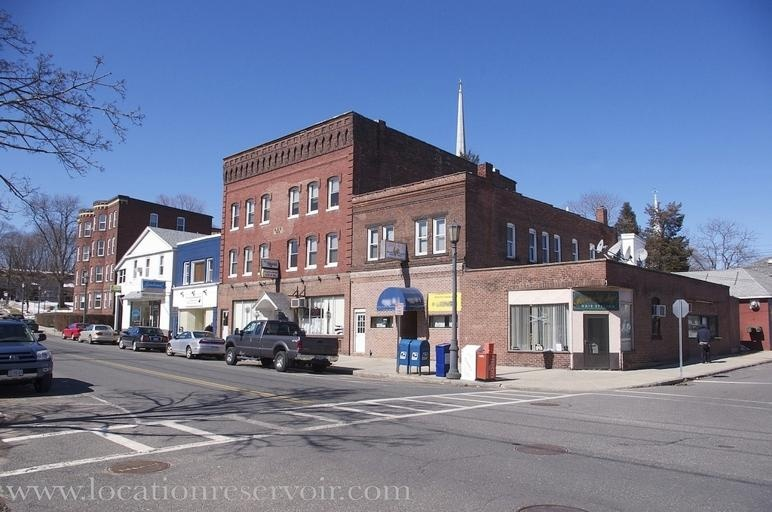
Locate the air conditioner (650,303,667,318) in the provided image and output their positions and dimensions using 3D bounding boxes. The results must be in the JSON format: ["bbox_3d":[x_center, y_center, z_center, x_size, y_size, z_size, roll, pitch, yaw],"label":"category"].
[{"bbox_3d":[13.288,2.809,33.622,0.596,0.761,1.110,-5,-9,39],"label":"air conditioner"}]

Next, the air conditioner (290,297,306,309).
[{"bbox_3d":[-5.409,2.860,41.842,0.646,0.496,0.916,2,-7,-30],"label":"air conditioner"}]

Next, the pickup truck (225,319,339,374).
[{"bbox_3d":[-5.183,4.233,31.872,6.554,2.387,2.036,-11,-15,43],"label":"pickup truck"}]

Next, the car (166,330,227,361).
[{"bbox_3d":[-10.472,4.918,37.794,1.598,1.030,3.477,8,-8,-41],"label":"car"}]

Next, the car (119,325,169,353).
[{"bbox_3d":[-15.834,5.350,44.194,1.914,1.145,4.184,6,-7,-36],"label":"car"}]
